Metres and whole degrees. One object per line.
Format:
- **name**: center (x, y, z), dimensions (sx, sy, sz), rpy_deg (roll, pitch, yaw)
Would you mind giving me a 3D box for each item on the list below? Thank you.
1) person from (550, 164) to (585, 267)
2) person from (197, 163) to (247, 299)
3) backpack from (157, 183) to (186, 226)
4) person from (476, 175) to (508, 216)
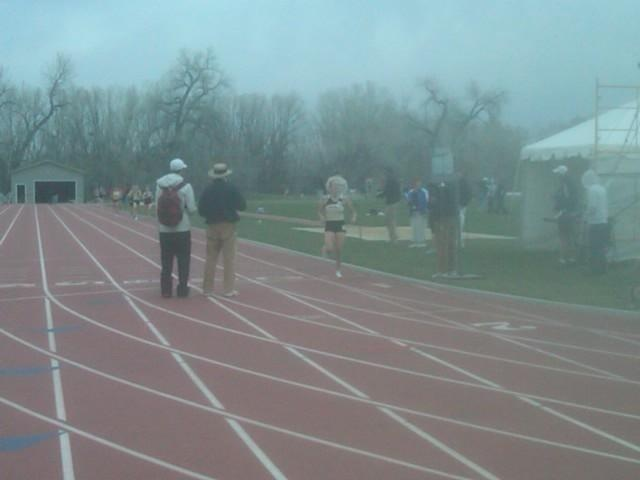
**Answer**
- **person**: center (5.660, -0.582, 17.943), dimensions (0.855, 3.234, 0.366), rpy_deg (-17, -43, 35)
- **person**: center (-1.664, -0.151, 13.311), dimensions (0.750, 2.264, 1.240), rpy_deg (-1, 14, -7)
- **backpack**: center (-2.361, -0.536, 12.799), dimensions (0.380, 0.647, 0.611), rpy_deg (-1, 8, 32)
- **person**: center (7.528, -1.814, 34.438), dimensions (0.885, 1.346, 3.375), rpy_deg (0, 2, 11)
